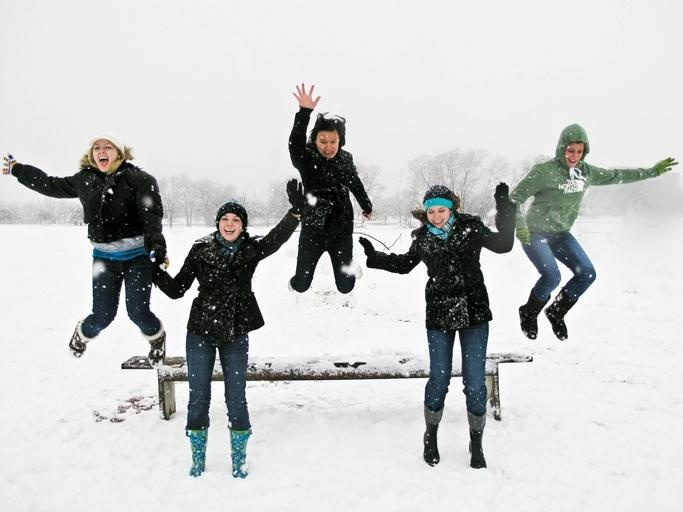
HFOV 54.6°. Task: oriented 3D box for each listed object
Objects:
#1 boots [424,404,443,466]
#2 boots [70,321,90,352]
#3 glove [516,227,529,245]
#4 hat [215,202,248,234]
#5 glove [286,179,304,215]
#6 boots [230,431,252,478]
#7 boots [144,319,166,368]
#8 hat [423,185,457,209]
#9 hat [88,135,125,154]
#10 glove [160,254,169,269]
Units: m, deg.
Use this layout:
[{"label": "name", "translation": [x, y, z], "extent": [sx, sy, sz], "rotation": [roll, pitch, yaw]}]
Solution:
[{"label": "boots", "translation": [1.213, 2.408, 8.829], "extent": [0.268, 0.672, 0.656], "rotation": [2, -4, 12]}, {"label": "boots", "translation": [-3.811, 1.204, 9.516], "extent": [0.220, 0.547, 0.215], "rotation": [-2, 10, -30]}, {"label": "glove", "translation": [2.714, -0.315, 9.898], "extent": [0.175, 0.246, 0.136], "rotation": [-4, 7, 8]}, {"label": "hat", "translation": [-1.436, -0.516, 8.583], "extent": [0.342, 0.343, 0.369], "rotation": [3, -11, -5]}, {"label": "glove", "translation": [-0.597, -0.773, 8.575], "extent": [0.244, 0.435, 0.129], "rotation": [-13, 5, -33]}, {"label": "boots", "translation": [-1.326, 2.534, 8.604], "extent": [0.251, 0.631, 0.244], "rotation": [-1, 9, -9]}, {"label": "boots", "translation": [-2.733, 1.326, 9.691], "extent": [0.239, 0.747, 0.488], "rotation": [0, 14, 3]}, {"label": "hat", "translation": [1.302, -0.794, 8.749], "extent": [0.383, 0.260, 0.280], "rotation": [5, 5, 43]}, {"label": "hat", "translation": [-3.183, -1.521, 8.901], "extent": [0.468, 0.241, 0.638], "rotation": [-3, 11, -20]}, {"label": "glove", "translation": [-2.327, 0.070, 8.628], "extent": [0.118, 0.178, 0.061], "rotation": [1, -1, -12]}]
